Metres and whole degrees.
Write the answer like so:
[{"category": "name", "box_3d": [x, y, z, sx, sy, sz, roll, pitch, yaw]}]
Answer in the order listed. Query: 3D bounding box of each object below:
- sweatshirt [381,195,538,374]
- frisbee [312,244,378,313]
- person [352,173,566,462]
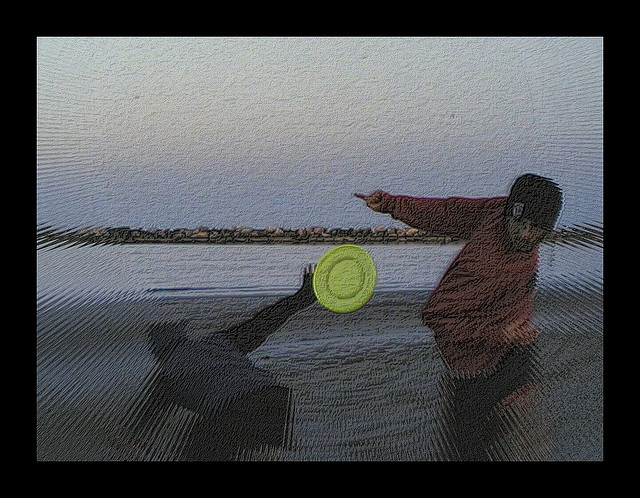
[{"category": "sweatshirt", "box_3d": [0.604, 0.169, 2.473, 0.775, 0.712, 0.115, -2, 1, -5]}, {"category": "frisbee", "box_3d": [0.117, 0.133, 2.500, 0.313, 0.305, 0.072, -11, 10, -28]}, {"category": "person", "box_3d": [0.591, 0.288, 2.472, 1.246, 1.178, 0.367, 2, -3, -5]}]
